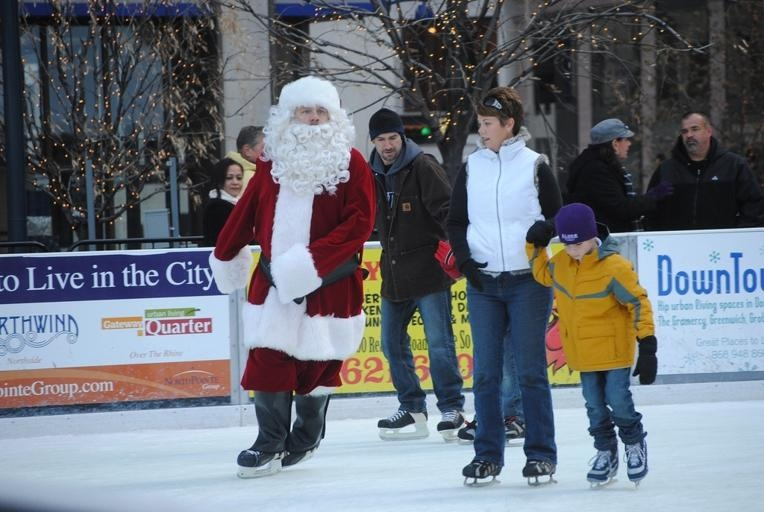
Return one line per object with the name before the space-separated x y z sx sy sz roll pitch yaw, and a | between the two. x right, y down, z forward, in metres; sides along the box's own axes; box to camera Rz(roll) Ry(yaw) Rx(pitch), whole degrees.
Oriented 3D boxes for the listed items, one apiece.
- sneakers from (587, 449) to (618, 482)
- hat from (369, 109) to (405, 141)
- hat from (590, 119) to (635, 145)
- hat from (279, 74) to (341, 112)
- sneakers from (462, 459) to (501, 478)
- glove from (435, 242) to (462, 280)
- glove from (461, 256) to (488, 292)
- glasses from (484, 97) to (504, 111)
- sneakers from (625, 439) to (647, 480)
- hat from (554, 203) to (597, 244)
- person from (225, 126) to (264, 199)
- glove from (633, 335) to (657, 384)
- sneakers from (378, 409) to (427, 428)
sneakers | 1.929 1.824 11.240 0.154 0.174 0.406 2 11 25
hat | 0.058 -1.260 12.411 0.291 0.251 0.301 -5 3 10
hat | 2.321 -1.224 13.027 0.356 0.177 0.253 -15 11 -4
hat | -0.638 -1.457 11.664 0.394 0.214 0.350 -2 3 -3
sneakers | 0.871 1.847 11.245 0.376 0.162 0.140 4 -5 -14
glove | 0.583 0.027 11.598 0.102 0.305 0.303 -27 -28 -35
glove | 0.804 0.131 11.184 0.202 0.268 0.138 28 -50 -19
glasses | 0.978 -1.320 11.188 0.142 0.084 0.034 12 9 19
sneakers | 2.219 1.736 11.221 0.131 0.395 0.171 -9 -36 30
hat | 1.703 -0.309 11.281 0.367 0.375 0.491 -6 0 22
person | -1.481 -1.053 14.019 0.459 0.727 0.968 4 13 7
glove | 2.235 0.883 10.985 0.199 0.424 0.214 -3 2 7
sneakers | 0.198 1.571 12.487 0.518 0.239 0.166 1 -10 -13
